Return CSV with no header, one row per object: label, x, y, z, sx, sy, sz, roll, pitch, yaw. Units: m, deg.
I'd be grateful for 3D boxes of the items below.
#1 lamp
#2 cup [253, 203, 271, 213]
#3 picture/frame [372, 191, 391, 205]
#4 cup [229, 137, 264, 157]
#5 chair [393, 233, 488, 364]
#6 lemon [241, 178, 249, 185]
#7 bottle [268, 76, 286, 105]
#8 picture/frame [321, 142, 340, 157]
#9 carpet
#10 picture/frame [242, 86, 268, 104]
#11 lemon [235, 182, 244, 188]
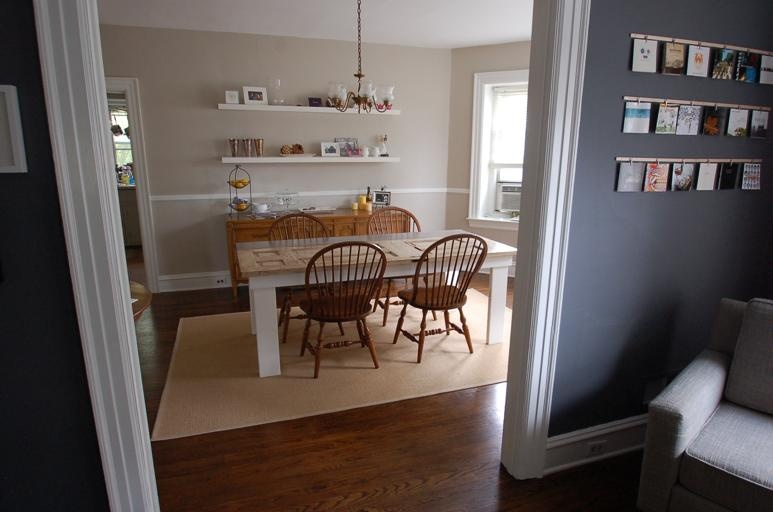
lamp,-0.282,-1.894,5.056,0.675,0.946,1.751,-3,13,-1
cup,-1.368,-0.519,5.613,0.132,0.081,0.111,0,3,-39
picture/frame,-0.074,-0.697,6.163,0.180,0.136,0.019,-1,9,-8
cup,-1.536,-1.190,5.648,0.371,0.206,0.140,-5,13,-11
chair,0.435,0.373,4.319,0.766,1.324,0.690,-7,25,-16
lemon,-1.547,-0.808,5.617,0.083,0.052,0.081,1,4,-3
bottle,-1.195,-1.793,5.614,0.170,0.284,0.186,-2,13,1
picture/frame,-0.657,-1.223,5.924,0.181,0.145,0.013,-6,4,-27
carpet,-0.474,0.807,4.227,2.497,0.205,1.547,-5,13,-14
picture/frame,-1.430,-1.736,5.556,0.221,0.154,0.016,-3,12,-17
lemon,-1.589,-0.764,5.570,0.063,0.039,0.061,-12,19,-35
